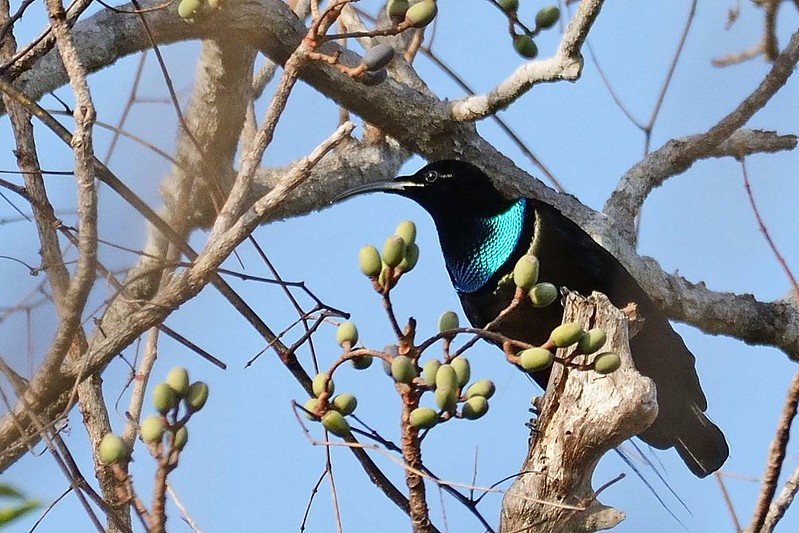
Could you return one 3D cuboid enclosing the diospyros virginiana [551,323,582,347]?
[{"bbox_3d":[0.570,0.233,4.522,0.100,0.060,0.069,-8,-78,-5],"label":"diospyros virginiana"}]

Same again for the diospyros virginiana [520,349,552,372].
[{"bbox_3d":[0.456,0.326,4.483,0.083,0.055,0.072,-3,-28,6],"label":"diospyros virginiana"}]

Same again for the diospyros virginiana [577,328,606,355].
[{"bbox_3d":[0.658,0.258,4.546,0.106,0.054,0.067,-25,-82,-7],"label":"diospyros virginiana"}]

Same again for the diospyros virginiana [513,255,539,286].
[{"bbox_3d":[0.447,0.003,4.699,0.086,0.171,0.115,-8,-66,4],"label":"diospyros virginiana"}]

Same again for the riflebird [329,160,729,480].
[{"bbox_3d":[0.588,0.036,6.338,0.756,1.731,1.373,-10,-84,43],"label":"riflebird"}]

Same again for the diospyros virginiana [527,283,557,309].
[{"bbox_3d":[0.504,0.099,4.700,0.086,0.055,0.076,-18,-62,-3],"label":"diospyros virginiana"}]

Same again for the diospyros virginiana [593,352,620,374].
[{"bbox_3d":[0.709,0.331,4.542,0.077,0.065,0.067,-8,-57,-3],"label":"diospyros virginiana"}]
